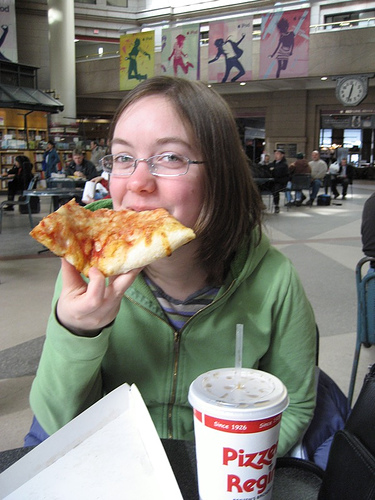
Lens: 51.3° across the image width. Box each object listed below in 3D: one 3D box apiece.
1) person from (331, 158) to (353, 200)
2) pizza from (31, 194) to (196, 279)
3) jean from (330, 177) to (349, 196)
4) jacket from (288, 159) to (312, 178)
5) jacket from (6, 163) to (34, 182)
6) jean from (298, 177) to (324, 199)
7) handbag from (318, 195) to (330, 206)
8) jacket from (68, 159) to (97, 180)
[{"bbox_3d":[6.013,-2.794,15.189,0.750,1.507,2.039,3,13,21],"label":"person"},{"bbox_3d":[-0.176,-0.023,0.945,0.297,0.068,0.221,-13,40,0],"label":"pizza"},{"bbox_3d":[5.860,-2.458,15.087,0.665,0.707,1.343,3,13,20],"label":"jean"},{"bbox_3d":[4.068,-2.975,14.062,0.793,0.567,0.989,2,13,15],"label":"jacket"},{"bbox_3d":[-5.184,-2.485,12.291,0.588,0.297,0.793,20,28,35],"label":"jacket"},{"bbox_3d":[4.291,-2.162,13.624,0.629,0.792,1.815,3,13,22],"label":"jean"},{"bbox_3d":[4.649,-1.685,13.312,0.358,0.292,0.343,0,5,-15],"label":"handbag"},{"bbox_3d":[-3.100,-2.455,11.785,0.616,0.561,1.105,-13,17,-40],"label":"jacket"}]
